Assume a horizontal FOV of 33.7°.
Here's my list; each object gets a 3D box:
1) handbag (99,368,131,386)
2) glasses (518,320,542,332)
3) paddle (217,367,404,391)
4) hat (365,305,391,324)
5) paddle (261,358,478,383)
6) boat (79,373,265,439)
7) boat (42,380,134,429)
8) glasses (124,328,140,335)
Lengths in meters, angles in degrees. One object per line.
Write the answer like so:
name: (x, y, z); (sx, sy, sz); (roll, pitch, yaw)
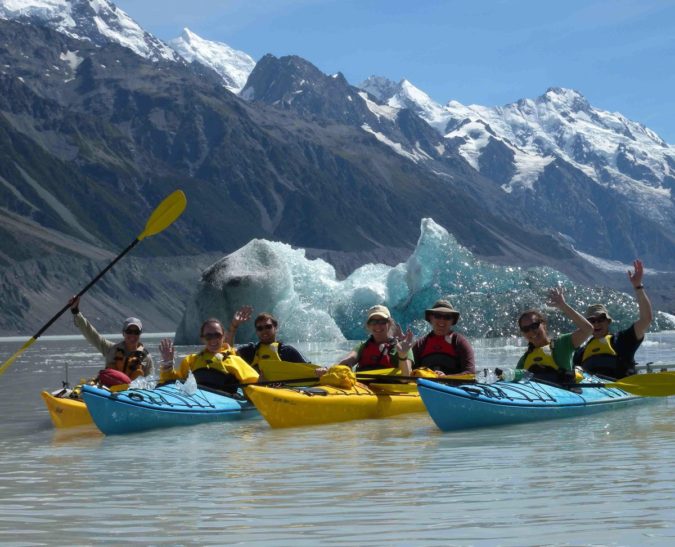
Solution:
handbag: (-2.991, 1.388, 14.915); (0.326, 0.110, 0.222); (10, 9, -13)
glasses: (2.535, 0.692, 14.608); (0.285, 0.176, 0.167); (3, 3, 17)
paddle: (-0.383, 1.433, 15.358); (2.088, 0.259, 0.380); (-1, -5, -8)
hat: (0.566, 0.520, 15.199); (0.273, 0.169, 0.377); (-5, -18, 8)
paddle: (0.448, 1.322, 15.184); (2.274, 0.271, 0.415); (0, 4, -5)
boat: (-2.207, 1.789, 15.068); (2.472, 0.450, 0.781); (8, -4, -43)
boat: (-3.627, 1.914, 15.996); (0.605, 0.482, 1.619); (-2, -7, 8)
glasses: (-2.759, 0.787, 15.160); (0.139, 0.088, 0.298); (4, 4, 38)
